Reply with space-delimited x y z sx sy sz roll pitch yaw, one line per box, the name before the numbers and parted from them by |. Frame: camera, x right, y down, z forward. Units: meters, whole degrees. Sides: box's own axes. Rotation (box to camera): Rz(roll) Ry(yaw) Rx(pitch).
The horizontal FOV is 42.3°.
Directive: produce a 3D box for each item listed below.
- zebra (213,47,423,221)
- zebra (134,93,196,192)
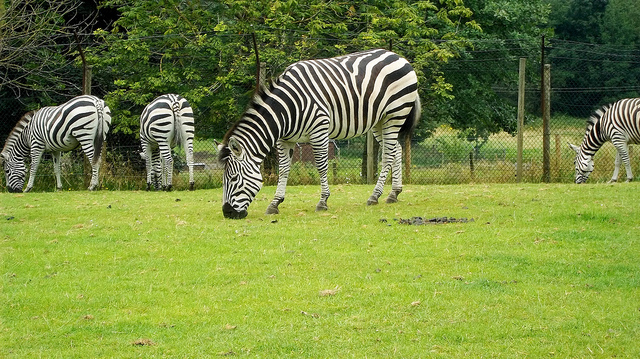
zebra | 0.035 -1.179 22.603 7.136 4.214 2.009 -11 11 -38
zebra | -4.663 -1.136 25.087 1.334 2.929 1.515 -1 2 -38
